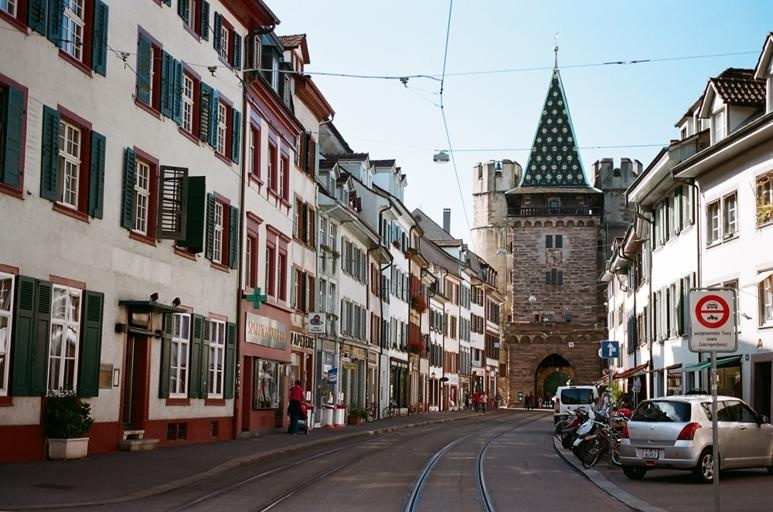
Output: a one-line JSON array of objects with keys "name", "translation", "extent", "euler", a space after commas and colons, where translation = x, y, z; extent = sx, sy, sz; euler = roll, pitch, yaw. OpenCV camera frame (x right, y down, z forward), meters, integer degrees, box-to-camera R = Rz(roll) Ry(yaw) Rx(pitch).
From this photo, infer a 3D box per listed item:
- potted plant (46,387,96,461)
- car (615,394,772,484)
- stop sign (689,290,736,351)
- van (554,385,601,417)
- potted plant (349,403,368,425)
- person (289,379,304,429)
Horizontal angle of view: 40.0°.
[{"name": "potted plant", "translation": [-8.479, 4.441, 28.277], "extent": [0.913, 1.716, 1.243], "euler": [-2, -7, 12]}, {"name": "car", "translation": [8.485, 4.662, 28.100], "extent": [3.496, 1.659, 2.099], "euler": [2, -7, -36]}, {"name": "stop sign", "translation": [6.710, 1.367, 21.968], "extent": [1.116, 1.657, 0.076], "euler": [0, -4, 1]}, {"name": "van", "translation": [8.560, 6.936, 48.158], "extent": [1.839, 1.555, 2.852], "euler": [-1, -4, 7]}, {"name": "potted plant", "translation": [-1.493, 8.032, 54.036], "extent": [0.804, 1.222, 1.148], "euler": [0, -8, 10]}, {"name": "person", "translation": [-3.595, 5.948, 42.072], "extent": [0.605, 2.004, 1.357], "euler": [-1, -16, -6]}]
